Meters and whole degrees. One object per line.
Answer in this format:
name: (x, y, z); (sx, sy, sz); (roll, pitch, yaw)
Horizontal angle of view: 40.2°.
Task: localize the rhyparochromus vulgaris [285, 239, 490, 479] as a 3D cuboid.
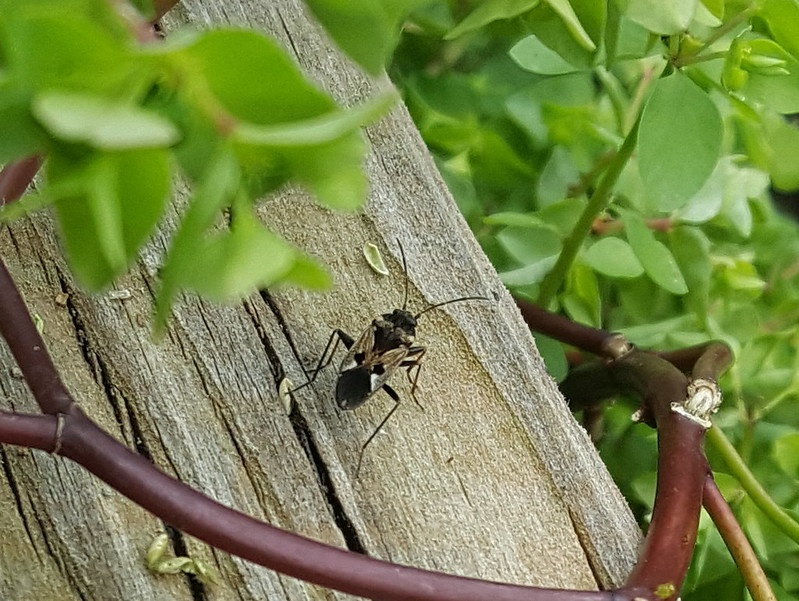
rhyparochromus vulgaris: (-0.013, 0.083, 1.457); (0.229, 0.095, 0.307); (34, 79, 7)
